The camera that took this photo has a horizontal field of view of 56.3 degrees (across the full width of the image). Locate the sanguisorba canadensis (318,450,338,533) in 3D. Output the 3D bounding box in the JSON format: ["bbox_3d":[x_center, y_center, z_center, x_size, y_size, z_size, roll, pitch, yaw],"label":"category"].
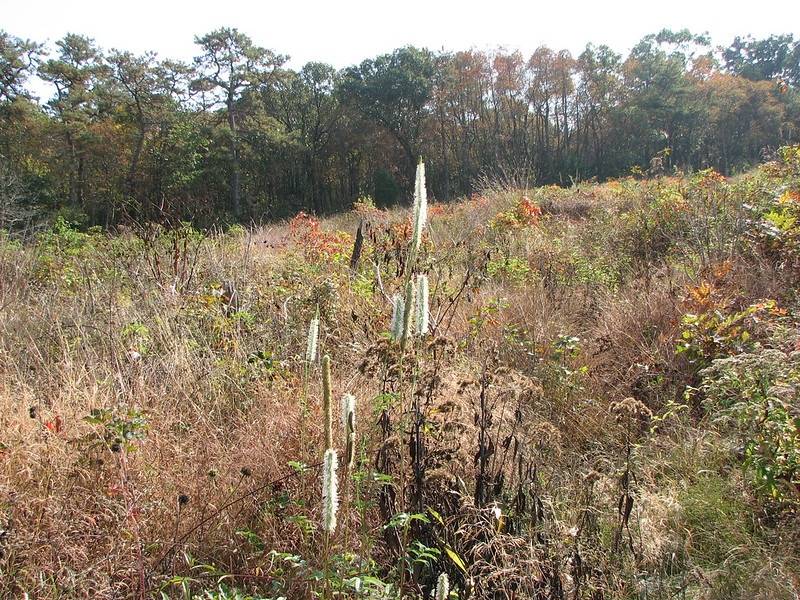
[{"bbox_3d":[-0.509,1.391,5.428,0.099,0.612,0.220,2,-8,-7],"label":"sanguisorba canadensis"}]
